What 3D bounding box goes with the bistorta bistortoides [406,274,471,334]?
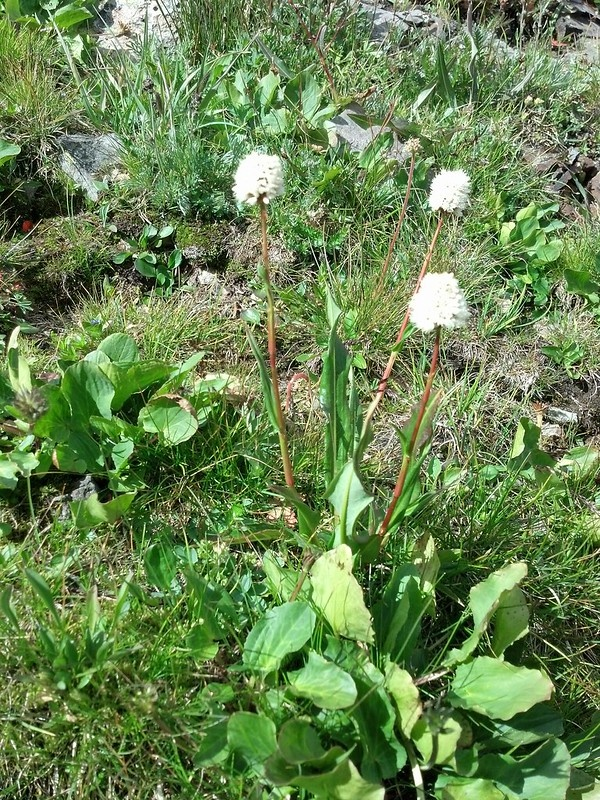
[{"bbox_3d":[0.268,-0.181,1.407,0.108,0.116,0.050,1,6,7],"label":"bistorta bistortoides"}]
